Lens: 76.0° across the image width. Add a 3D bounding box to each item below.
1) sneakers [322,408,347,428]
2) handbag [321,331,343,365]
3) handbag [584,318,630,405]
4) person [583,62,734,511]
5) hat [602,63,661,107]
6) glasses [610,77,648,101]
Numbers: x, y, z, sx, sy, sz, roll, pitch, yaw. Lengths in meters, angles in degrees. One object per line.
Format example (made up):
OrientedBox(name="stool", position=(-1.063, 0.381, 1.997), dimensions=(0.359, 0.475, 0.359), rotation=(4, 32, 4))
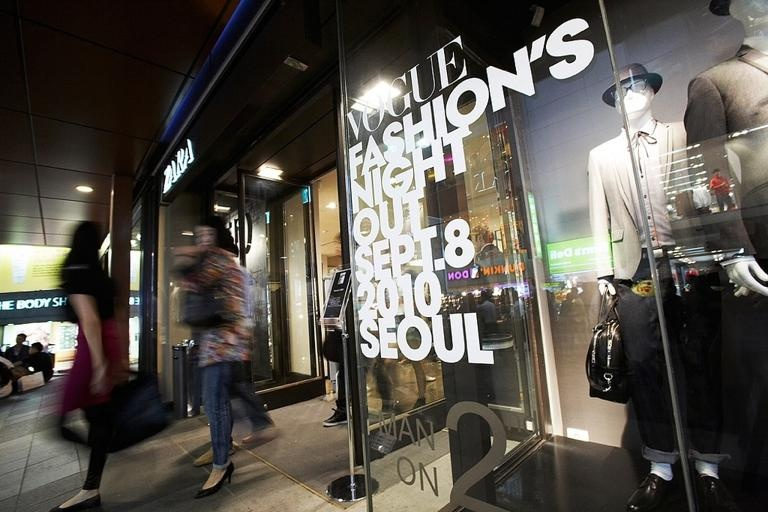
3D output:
OrientedBox(name="sneakers", position=(-0.457, 1.427, 4.248), dimensions=(0.289, 0.137, 0.098), rotation=(11, -23, -39))
OrientedBox(name="handbag", position=(-0.420, 0.754, 4.026), dimensions=(0.133, 0.344, 0.395), rotation=(-4, 3, -12))
OrientedBox(name="handbag", position=(0.939, 0.433, 2.072), dimensions=(0.154, 0.293, 0.209), rotation=(-3, 8, 29))
OrientedBox(name="person", position=(1.132, 0.108, 1.979), dimensions=(0.508, 1.804, 0.318), rotation=(-5, 2, -28))
OrientedBox(name="hat", position=(0.976, -0.687, 1.994), dimensions=(0.184, 0.089, 0.184), rotation=(-12, 9, 32))
OrientedBox(name="glasses", position=(0.993, -0.684, 1.999), dimensions=(0.105, 0.032, 0.105), rotation=(-11, -28, 35))
